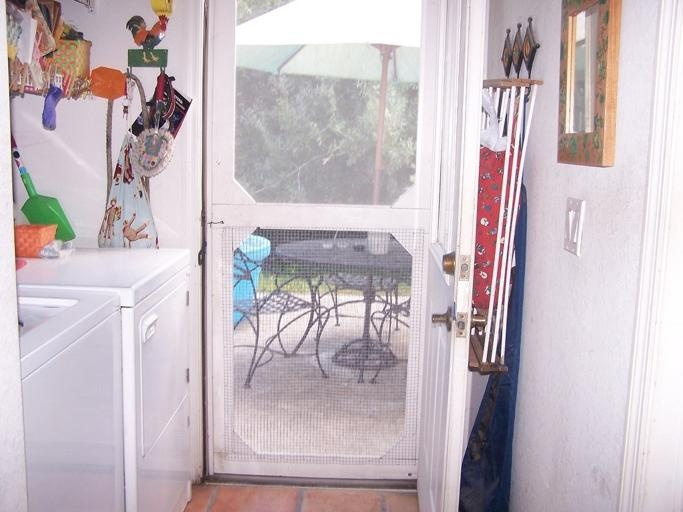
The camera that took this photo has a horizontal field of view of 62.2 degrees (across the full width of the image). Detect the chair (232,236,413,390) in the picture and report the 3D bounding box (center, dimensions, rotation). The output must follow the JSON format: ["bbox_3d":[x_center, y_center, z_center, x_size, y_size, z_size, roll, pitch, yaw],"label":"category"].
[{"bbox_3d":[-0.078,0.176,2.780,0.826,0.709,0.552,0,0,-3],"label":"chair"}]

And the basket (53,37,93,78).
[{"bbox_3d":[-1.136,-0.843,2.393,0.129,0.159,0.044,9,5,-8],"label":"basket"}]
